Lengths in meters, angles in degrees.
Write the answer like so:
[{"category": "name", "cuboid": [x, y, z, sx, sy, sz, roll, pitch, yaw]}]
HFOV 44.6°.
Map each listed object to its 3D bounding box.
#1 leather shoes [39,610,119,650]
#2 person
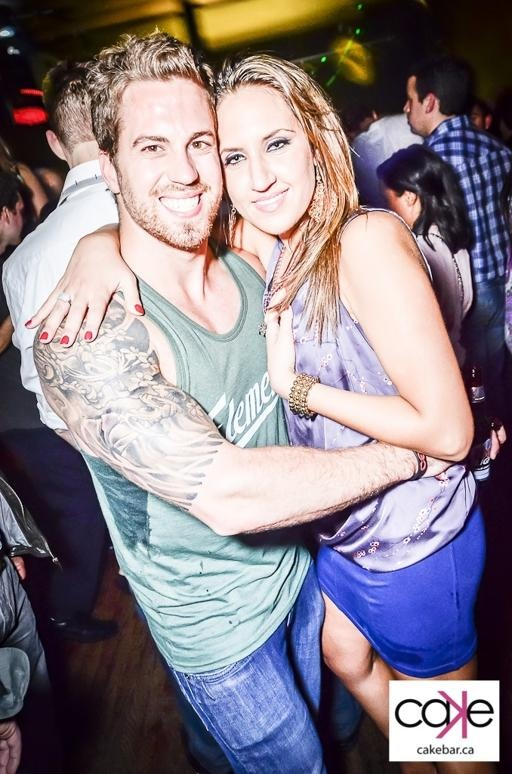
[{"category": "leather shoes", "cuboid": [-0.804, 1.124, 2.911, 0.367, 0.143, 0.123, 3, 23, -5]}, {"category": "person", "cuboid": [-0.084, 0.129, 1.475, 0.635, 1.735, 0.616, -26, 28, -21]}]
